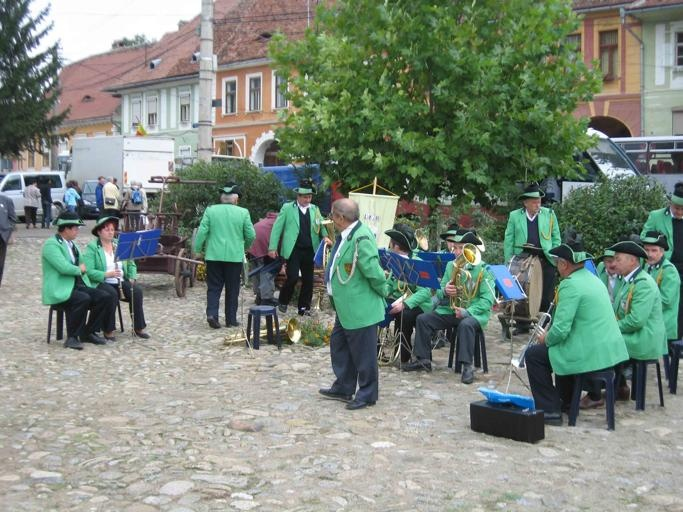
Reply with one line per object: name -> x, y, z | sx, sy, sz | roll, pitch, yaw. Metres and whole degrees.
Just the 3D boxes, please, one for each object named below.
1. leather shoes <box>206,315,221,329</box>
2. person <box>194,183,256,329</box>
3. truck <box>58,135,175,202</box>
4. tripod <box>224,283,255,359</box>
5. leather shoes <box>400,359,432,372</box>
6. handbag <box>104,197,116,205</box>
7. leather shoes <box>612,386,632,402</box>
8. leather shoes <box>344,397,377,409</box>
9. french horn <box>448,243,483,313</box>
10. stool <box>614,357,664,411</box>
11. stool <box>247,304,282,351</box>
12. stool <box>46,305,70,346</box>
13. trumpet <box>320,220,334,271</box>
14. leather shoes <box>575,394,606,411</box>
leather shoes -> -1.877, 0.956, 13.254 | 0.198, 0.210, 0.311 | 0, 11, -7
person -> -1.769, -0.002, 13.452 | 0.938, 2.121, 0.689 | 4, -5, -15
truck -> -7.117, -3.052, 29.544 | 1.479, 1.872, 5.106 | -8, 14, -39
tripod -> -1.438, 0.789, 12.310 | 0.510, 0.857, 0.406 | -13, -8, 31
leather shoes -> 0.958, 1.367, 11.212 | 0.412, 0.169, 0.143 | 3, 1, 3
handbag -> -6.522, -1.533, 25.276 | 0.283, 0.207, 0.079 | 0, 11, -5
leather shoes -> 3.276, 1.580, 10.370 | 0.129, 0.144, 0.355 | -1, 5, 23
leather shoes -> 0.230, 1.584, 9.682 | 0.299, 0.121, 0.112 | 4, -1, -20
french horn -> 1.535, 0.236, 11.033 | 0.385, 0.793, 0.375 | 3, 12, -7
stool -> 3.408, 1.412, 10.228 | 0.650, 0.559, 0.615 | -3, 2, -3
stool -> -1.016, 0.967, 12.175 | 0.478, 0.489, 0.474 | -4, 2, -29
stool -> -3.868, 0.914, 12.228 | 0.365, 0.446, 0.345 | 5, 5, 15
trumpet -> -0.192, -0.165, 12.730 | 0.251, 0.219, 0.849 | 2, 36, 6
leather shoes -> 2.790, 1.638, 9.943 | 0.353, 0.135, 0.122 | 2, -5, 8
